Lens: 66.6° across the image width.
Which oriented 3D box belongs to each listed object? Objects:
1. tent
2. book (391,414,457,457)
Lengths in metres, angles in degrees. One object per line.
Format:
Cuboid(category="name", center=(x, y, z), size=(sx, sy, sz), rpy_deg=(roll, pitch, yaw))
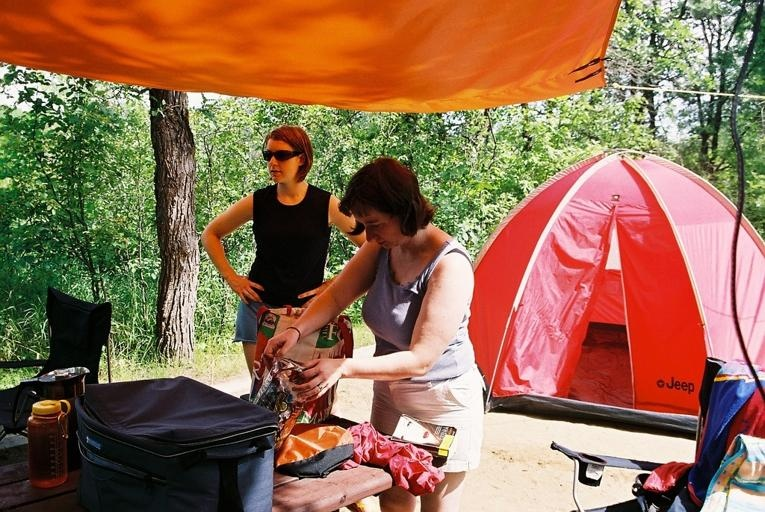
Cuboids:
Cuboid(category="tent", center=(2.742, 0.287, 6.537), size=(3.218, 2.174, 2.858), rpy_deg=(3, 6, 27))
Cuboid(category="book", center=(0.214, 0.837, 2.733), size=(0.230, 0.076, 0.172), rpy_deg=(12, 40, 7))
